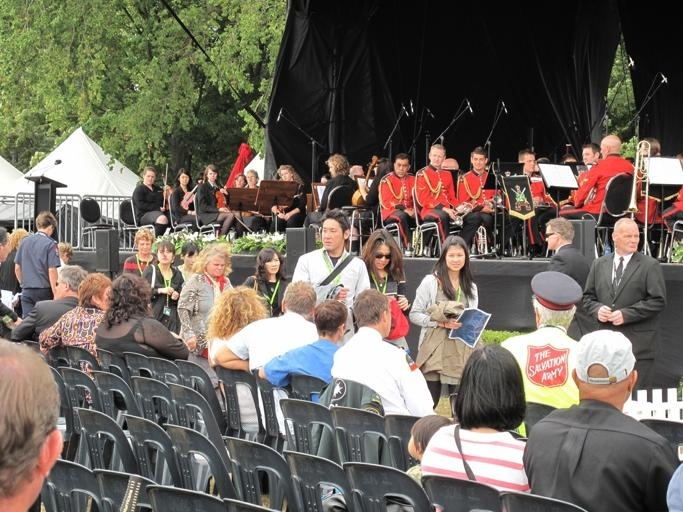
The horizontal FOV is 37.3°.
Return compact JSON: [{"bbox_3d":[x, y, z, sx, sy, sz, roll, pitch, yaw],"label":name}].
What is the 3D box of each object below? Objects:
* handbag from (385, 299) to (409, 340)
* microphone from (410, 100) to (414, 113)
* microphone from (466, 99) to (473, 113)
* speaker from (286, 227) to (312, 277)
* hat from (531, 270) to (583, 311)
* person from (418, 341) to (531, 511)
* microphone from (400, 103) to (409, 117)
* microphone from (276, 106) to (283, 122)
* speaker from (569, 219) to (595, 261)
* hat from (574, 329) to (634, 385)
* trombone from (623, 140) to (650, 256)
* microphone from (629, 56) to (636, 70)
[{"bbox_3d":[0.537,0.635,10.070,0.186,0.426,0.682,0,1,9],"label":"handbag"},{"bbox_3d":[1.395,-2.924,20.316,0.092,0.274,0.038,0,1,6],"label":"microphone"},{"bbox_3d":[2.564,-2.967,20.520,0.062,0.297,0.078,-20,-3,-26],"label":"microphone"},{"bbox_3d":[-0.525,-0.010,12.732,0.362,0.641,0.414,0,1,-3],"label":"speaker"},{"bbox_3d":[1.706,0.289,8.163,0.382,0.293,0.318,0,1,9],"label":"hat"},{"bbox_3d":[0.934,1.205,7.050,0.909,1.316,0.662,4,2,17],"label":"person"},{"bbox_3d":[1.242,-2.849,20.297,0.099,0.360,0.072,1,21,44],"label":"microphone"},{"bbox_3d":[-1.132,-2.533,18.555,0.104,0.242,0.047,0,1,-14],"label":"microphone"},{"bbox_3d":[2.826,-0.157,11.965,0.347,0.490,0.193,0,1,-34],"label":"speaker"},{"bbox_3d":[1.797,0.665,6.943,0.283,0.207,0.395,2,13,23],"label":"hat"},{"bbox_3d":[3.683,-0.727,12.551,0.415,1.449,0.456,1,7,14],"label":"trombone"},{"bbox_3d":[5.422,-3.576,19.141,0.102,0.218,0.123,-12,-21,36],"label":"microphone"}]
